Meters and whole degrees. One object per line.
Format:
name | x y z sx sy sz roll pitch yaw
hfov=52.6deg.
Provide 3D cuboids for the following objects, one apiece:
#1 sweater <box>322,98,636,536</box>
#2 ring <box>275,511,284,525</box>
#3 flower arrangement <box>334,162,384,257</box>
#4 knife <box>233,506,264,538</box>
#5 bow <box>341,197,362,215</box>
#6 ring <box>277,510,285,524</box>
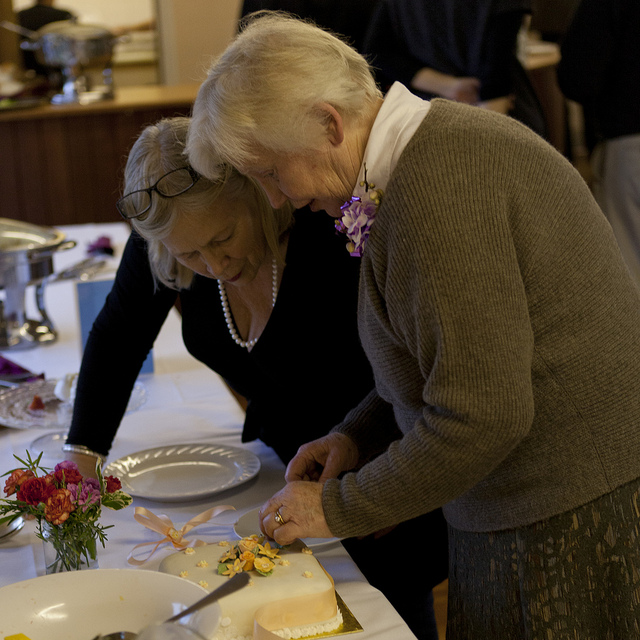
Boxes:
sweater | 0.247 0.063 0.931 0.479 0.677 0.290 1 24 0
ring | -0.063 0.302 0.988 0.004 0.013 0.013 -21 2 -17
flower arrangement | 0.053 -0.162 0.957 0.051 0.124 0.063 -7 27 -21
knife | -0.130 0.354 1.145 0.045 0.008 0.049 -1 20 -5
bow | 0.042 -0.164 0.943 0.016 0.006 0.023 -12 44 49
ring | -0.061 0.297 0.985 0.003 0.015 0.015 -23 58 -8
